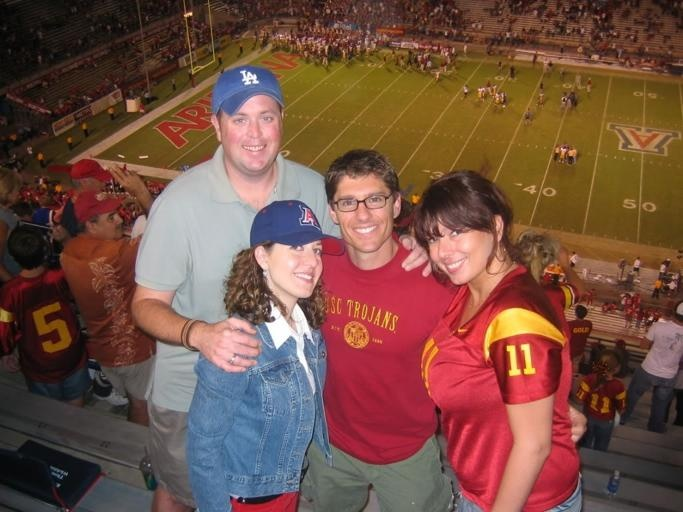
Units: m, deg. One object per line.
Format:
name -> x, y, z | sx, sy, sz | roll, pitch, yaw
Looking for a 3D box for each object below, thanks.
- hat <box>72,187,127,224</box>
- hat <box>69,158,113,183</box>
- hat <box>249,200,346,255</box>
hat -> -3.352, -0.743, 6.880 | 0.640, 0.368, 0.476 | -12, 32, -2
hat -> -4.788, -1.602, 9.628 | 0.844, 0.384, 0.546 | -7, 26, -31
hat -> -0.376, -0.204, 3.652 | 0.428, 0.230, 0.333 | -4, 6, 26
